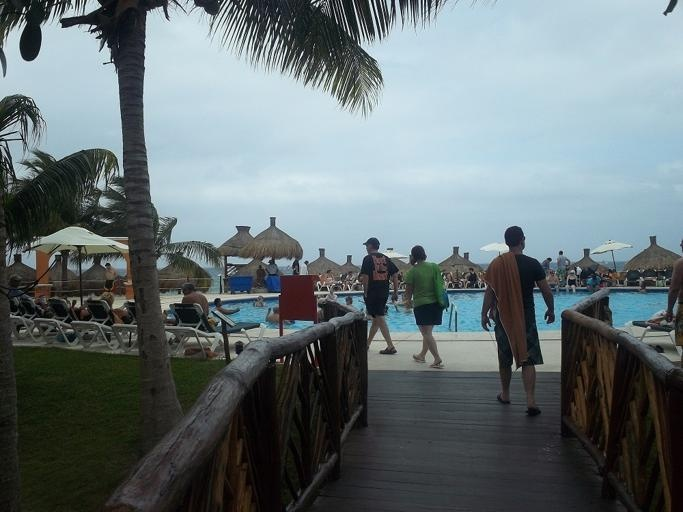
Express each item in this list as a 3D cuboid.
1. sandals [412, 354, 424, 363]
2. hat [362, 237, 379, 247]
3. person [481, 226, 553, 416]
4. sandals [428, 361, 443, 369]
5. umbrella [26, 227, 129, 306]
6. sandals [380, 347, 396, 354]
[{"bbox_3d":[1.222,1.622,7.867,0.188,0.101,0.192,-3,-2,10],"label":"sandals"},{"bbox_3d":[0.527,-0.219,8.592,0.202,0.169,0.390,-2,-2,-4],"label":"hat"},{"bbox_3d":[1.995,0.702,5.683,0.748,1.440,0.574,-3,-2,23],"label":"person"},{"bbox_3d":[1.384,1.608,7.379,0.182,0.085,0.090,3,1,19],"label":"sandals"},{"bbox_3d":[-9.556,0.453,18.085,3.143,2.315,3.253,-1,0,45],"label":"umbrella"},{"bbox_3d":[0.787,1.628,8.522,0.221,0.102,0.115,2,-2,11],"label":"sandals"}]
